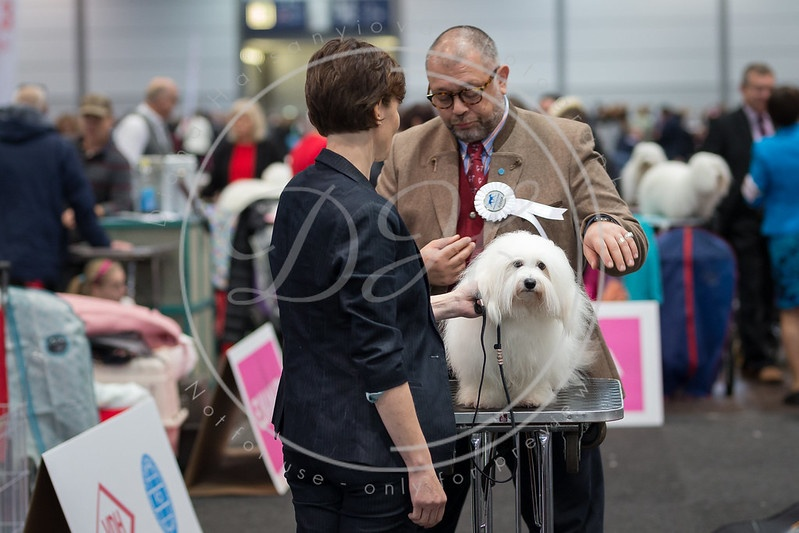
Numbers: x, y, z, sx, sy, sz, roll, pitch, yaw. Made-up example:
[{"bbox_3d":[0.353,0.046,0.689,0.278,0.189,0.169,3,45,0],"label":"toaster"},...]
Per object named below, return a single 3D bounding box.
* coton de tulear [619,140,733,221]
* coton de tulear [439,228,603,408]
[{"bbox_3d":[2.311,-0.690,11.975,0.353,0.652,1.118,-5,3,-23],"label":"coton de tulear"},{"bbox_3d":[0.633,0.538,9.408,0.743,1.033,1.460,0,-16,-13],"label":"coton de tulear"}]
